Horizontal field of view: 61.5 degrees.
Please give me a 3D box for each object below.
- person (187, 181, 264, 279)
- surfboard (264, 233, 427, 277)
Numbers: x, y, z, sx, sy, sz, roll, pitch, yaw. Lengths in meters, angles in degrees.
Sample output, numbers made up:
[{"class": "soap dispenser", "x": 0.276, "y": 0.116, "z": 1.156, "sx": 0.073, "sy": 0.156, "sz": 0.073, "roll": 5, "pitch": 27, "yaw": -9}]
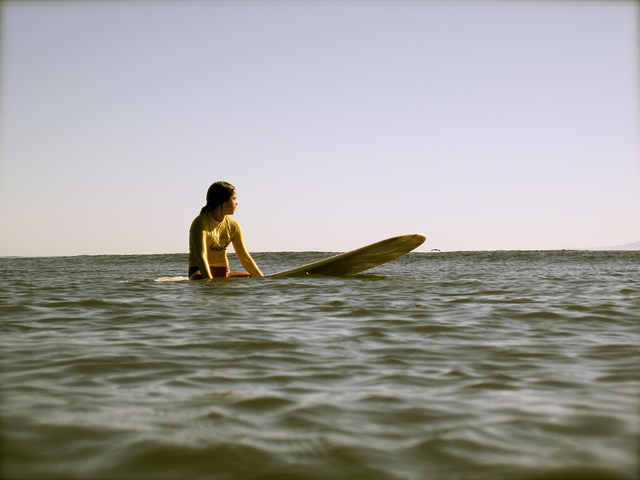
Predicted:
[{"class": "person", "x": -1.377, "y": -0.116, "z": 7.618, "sx": 0.864, "sy": 1.354, "sz": 1.056, "roll": 2, "pitch": 3, "yaw": 11}, {"class": "surfboard", "x": 0.729, "y": 0.455, "z": 11.098, "sx": 3.355, "sy": 0.222, "sz": 0.372, "roll": -9, "pitch": -44, "yaw": -22}]
